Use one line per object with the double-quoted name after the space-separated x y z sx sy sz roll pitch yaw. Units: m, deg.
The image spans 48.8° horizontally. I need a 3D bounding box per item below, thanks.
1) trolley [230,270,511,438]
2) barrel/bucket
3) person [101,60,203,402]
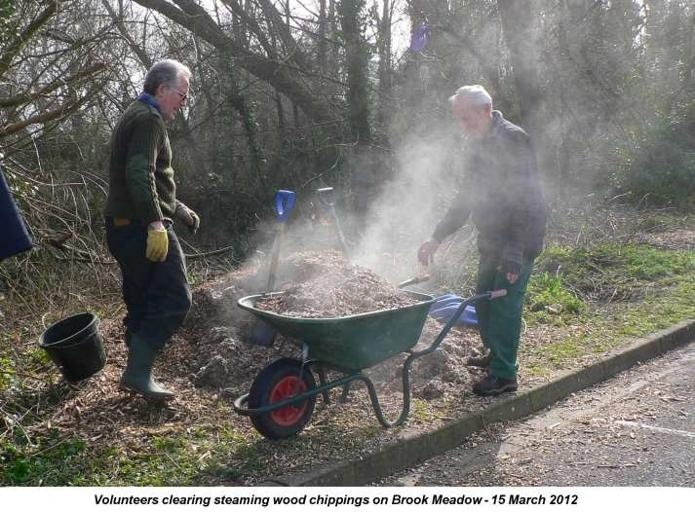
-0.098 1.026 7.661 2.169 1.289 0.903 -9 21 -11 "trolley"
-2.849 0.967 7.929 0.592 0.573 0.558 -4 21 1 "barrel/bucket"
-2.041 -0.297 7.893 0.931 3.375 1.315 2 8 -13 "person"
